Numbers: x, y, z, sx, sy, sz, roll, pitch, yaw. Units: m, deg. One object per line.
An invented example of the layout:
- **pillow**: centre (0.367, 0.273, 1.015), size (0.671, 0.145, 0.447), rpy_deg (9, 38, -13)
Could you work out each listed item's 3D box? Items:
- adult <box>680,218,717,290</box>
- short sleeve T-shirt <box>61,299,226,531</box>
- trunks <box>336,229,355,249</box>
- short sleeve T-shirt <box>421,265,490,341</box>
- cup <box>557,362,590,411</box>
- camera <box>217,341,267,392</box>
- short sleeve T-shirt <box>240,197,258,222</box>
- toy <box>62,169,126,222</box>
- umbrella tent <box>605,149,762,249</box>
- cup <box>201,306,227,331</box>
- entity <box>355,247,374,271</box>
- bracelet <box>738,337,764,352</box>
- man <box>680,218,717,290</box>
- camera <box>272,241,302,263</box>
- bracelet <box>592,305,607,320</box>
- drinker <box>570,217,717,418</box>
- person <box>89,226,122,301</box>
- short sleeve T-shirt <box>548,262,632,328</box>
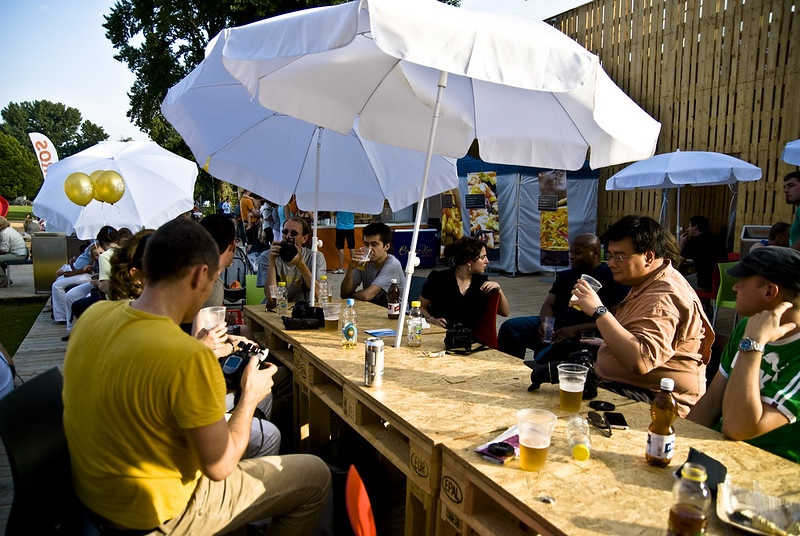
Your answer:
- **adult**: centre (4.941, -0.242, 9.130), size (0.577, 1.259, 0.535), rpy_deg (2, 24, 14)
- **short sleeve T-shirt**: centre (-1.377, 0.812, 2.912), size (1.033, 0.927, 0.562), rpy_deg (15, 17, 39)
- **trunks**: centre (-1.237, -0.662, 12.215), size (0.413, 0.541, 0.208), rpy_deg (2, 4, 4)
- **short sleeve T-shirt**: centre (0.610, 0.328, 5.644), size (0.742, 0.733, 0.400), rpy_deg (-5, -3, -39)
- **cup**: centre (1.062, 0.735, 3.410), size (0.239, 0.287, 0.238), rpy_deg (2, -3, 0)
- **camera**: centre (-1.015, 0.633, 3.430), size (0.259, 0.265, 0.102), rpy_deg (36, 7, 22)
- **short sleeve T-shirt**: centre (-4.155, -1.604, 15.027), size (0.338, 0.556, 0.646), rpy_deg (-8, 13, -32)
- **toy**: centre (-4.909, -1.284, 8.815), size (1.027, 0.529, 0.611), rpy_deg (0, 2, 11)
- **umbrella tent**: centre (5.071, -1.255, 9.909), size (2.432, 1.674, 2.562), rpy_deg (-6, 8, -4)
- **cup**: centre (-1.414, 0.370, 4.084), size (0.220, 0.202, 0.245), rpy_deg (2, -3, -12)
- **entity**: centre (-0.381, -0.095, 5.625), size (0.136, 0.257, 0.248), rpy_deg (22, 0, -4)
- **bracelet**: centre (2.024, 0.447, 3.164), size (0.114, 0.079, 0.120), rpy_deg (9, -3, -19)
- **man**: centre (4.930, -0.220, 9.113), size (0.567, 1.236, 0.550), rpy_deg (3, 19, 14)
- **camera**: centre (-1.170, -0.153, 5.587), size (0.223, 0.228, 0.057), rpy_deg (-1, 3, 6)
- **bracelet**: centre (1.358, 0.297, 3.725), size (0.072, 0.101, 0.106), rpy_deg (40, 10, 13)
- **drinker**: centre (2.029, 0.416, 4.699), size (1.182, 2.202, 1.486), rpy_deg (2, -13, 17)
- **person**: centre (-4.343, -0.073, 8.385), size (0.336, 1.277, 0.370), rpy_deg (5, 31, -5)
- **short sleeve T-shirt**: centre (1.708, 0.252, 4.889), size (0.316, 0.507, 0.562), rpy_deg (35, -16, -16)
